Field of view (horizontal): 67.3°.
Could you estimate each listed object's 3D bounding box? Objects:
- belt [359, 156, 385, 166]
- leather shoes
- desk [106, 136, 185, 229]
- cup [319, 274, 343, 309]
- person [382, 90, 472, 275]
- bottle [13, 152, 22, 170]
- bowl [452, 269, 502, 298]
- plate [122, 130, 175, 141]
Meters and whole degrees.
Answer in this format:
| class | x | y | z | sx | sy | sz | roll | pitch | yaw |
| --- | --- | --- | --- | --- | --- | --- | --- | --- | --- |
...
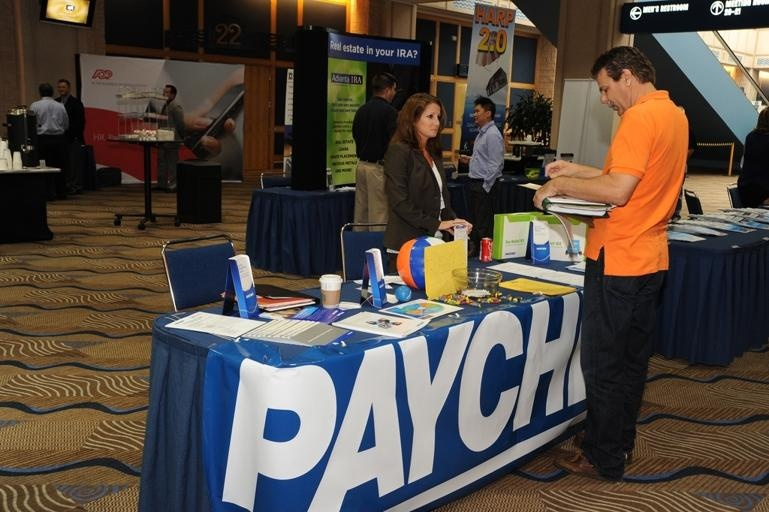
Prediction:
| class | x | y | z | sx | sy | sz | roll | pitch | yaw |
| --- | --- | --- | --- | --- | --- | --- | --- | --- | --- |
| belt | -0.121 | -0.975 | 5.965 | 0.296 | 0.096 | 0.317 | 8 | 7 | 35 |
| leather shoes | 1.128 | 1.135 | 3.329 | 0.498 | 0.230 | 0.197 | 6 | 15 | 13 |
| desk | -4.096 | -1.273 | 9.924 | 1.473 | 1.709 | 1.477 | -1 | 18 | -17 |
| cup | -0.262 | 0.176 | 2.941 | 0.132 | 0.146 | 0.140 | 0 | 4 | 0 |
| person | 0.245 | -0.522 | 3.859 | 0.498 | 1.081 | 0.354 | -2 | 10 | -12 |
| bottle | -4.572 | -1.192 | 7.210 | 0.109 | 0.212 | 0.315 | -7 | 13 | -33 |
| bowl | 0.502 | 0.140 | 3.112 | 0.169 | 0.074 | 0.168 | 1 | 14 | 0 |
| plate | -3.349 | -1.715 | 8.195 | 0.579 | 0.149 | 0.632 | 5 | 12 | 22 |
